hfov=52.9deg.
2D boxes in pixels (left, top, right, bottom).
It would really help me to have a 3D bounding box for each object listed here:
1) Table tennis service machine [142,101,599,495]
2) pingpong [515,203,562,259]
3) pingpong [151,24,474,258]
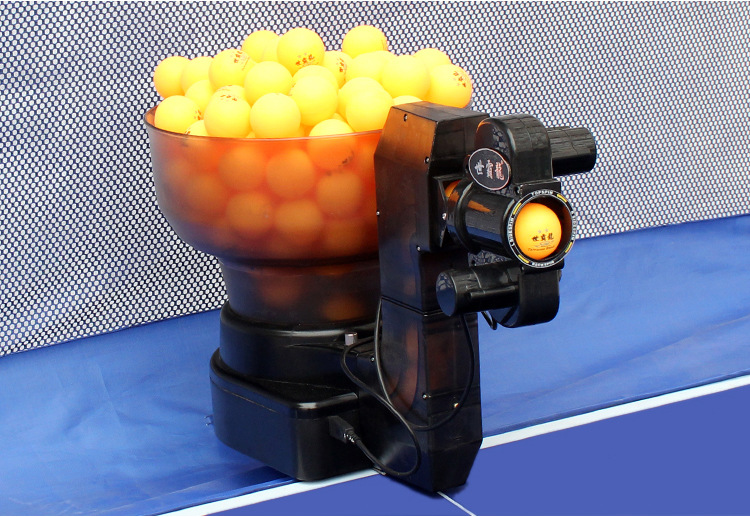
[{"bbox_3d":[0.007,0.003,0.972,0.400,0.423,0.523,-8,13,-35],"label":"Table tennis service machine"},{"bbox_3d":[0.155,-0.029,0.740,0.048,0.054,0.034,-9,9,-9],"label":"pingpong"},{"bbox_3d":[-0.064,-0.134,0.977,0.330,0.227,0.310,1,11,15],"label":"pingpong"}]
